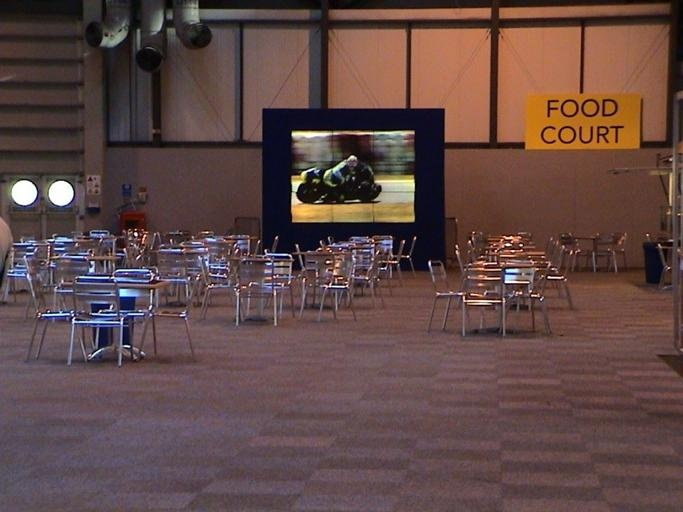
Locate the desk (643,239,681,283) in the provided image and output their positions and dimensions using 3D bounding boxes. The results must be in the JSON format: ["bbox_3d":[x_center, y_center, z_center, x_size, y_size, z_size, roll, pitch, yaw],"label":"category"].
[{"bbox_3d":[6.338,0.055,17.582,0.664,0.851,0.733,-5,-3,16],"label":"desk"}]

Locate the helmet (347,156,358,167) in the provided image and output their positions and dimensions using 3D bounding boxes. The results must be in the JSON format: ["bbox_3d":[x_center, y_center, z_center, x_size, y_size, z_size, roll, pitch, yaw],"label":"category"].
[{"bbox_3d":[0.247,-2.201,20.347,0.232,0.263,0.081,1,4,-2],"label":"helmet"}]

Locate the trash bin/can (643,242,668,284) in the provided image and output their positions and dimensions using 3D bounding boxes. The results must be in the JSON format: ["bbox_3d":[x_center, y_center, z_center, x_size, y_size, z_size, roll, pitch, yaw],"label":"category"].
[{"bbox_3d":[6.225,0.073,17.625,0.409,0.735,0.575,2,-1,21],"label":"trash bin/can"}]
